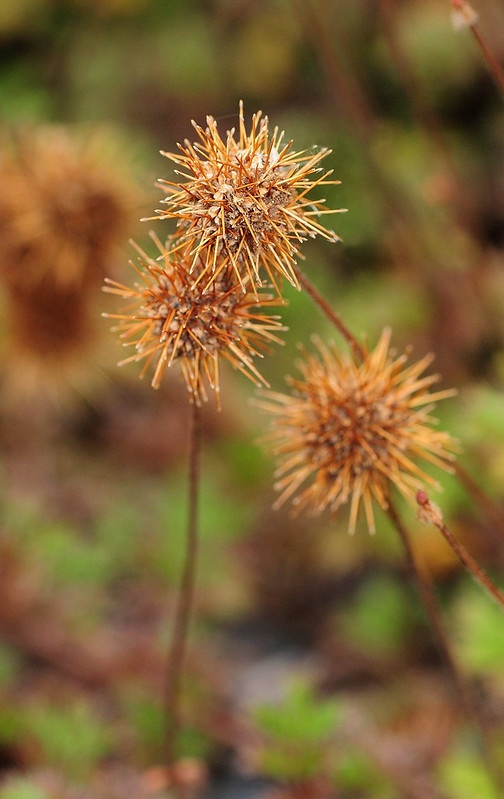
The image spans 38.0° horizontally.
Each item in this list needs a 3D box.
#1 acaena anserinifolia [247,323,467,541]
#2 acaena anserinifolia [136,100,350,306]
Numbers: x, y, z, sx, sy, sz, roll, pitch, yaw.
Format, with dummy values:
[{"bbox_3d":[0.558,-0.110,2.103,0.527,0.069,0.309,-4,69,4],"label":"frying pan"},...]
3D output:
[{"bbox_3d":[0.127,0.040,0.845,0.234,0.239,0.208,1,6,-9],"label":"acaena anserinifolia"},{"bbox_3d":[-0.016,-0.219,0.749,0.164,0.121,0.149,-3,-3,1],"label":"acaena anserinifolia"}]
